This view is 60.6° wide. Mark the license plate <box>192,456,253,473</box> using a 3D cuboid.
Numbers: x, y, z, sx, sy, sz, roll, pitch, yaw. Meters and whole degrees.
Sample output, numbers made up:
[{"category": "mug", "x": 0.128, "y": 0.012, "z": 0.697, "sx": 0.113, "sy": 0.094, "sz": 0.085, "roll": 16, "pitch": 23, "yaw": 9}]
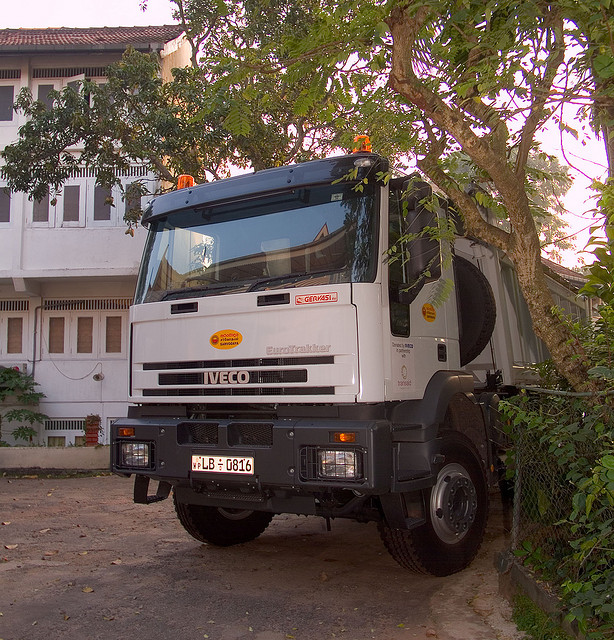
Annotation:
[{"category": "license plate", "x": -0.587, "y": 0.990, "z": 3.615, "sx": 0.520, "sy": 0.099, "sz": 0.021, "roll": -6, "pitch": -11, "yaw": 30}]

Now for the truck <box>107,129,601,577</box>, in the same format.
[{"category": "truck", "x": 1.257, "y": 0.733, "z": 5.641, "sx": 2.708, "sy": 2.575, "sz": 5.327, "roll": -11, "pitch": -18, "yaw": 34}]
